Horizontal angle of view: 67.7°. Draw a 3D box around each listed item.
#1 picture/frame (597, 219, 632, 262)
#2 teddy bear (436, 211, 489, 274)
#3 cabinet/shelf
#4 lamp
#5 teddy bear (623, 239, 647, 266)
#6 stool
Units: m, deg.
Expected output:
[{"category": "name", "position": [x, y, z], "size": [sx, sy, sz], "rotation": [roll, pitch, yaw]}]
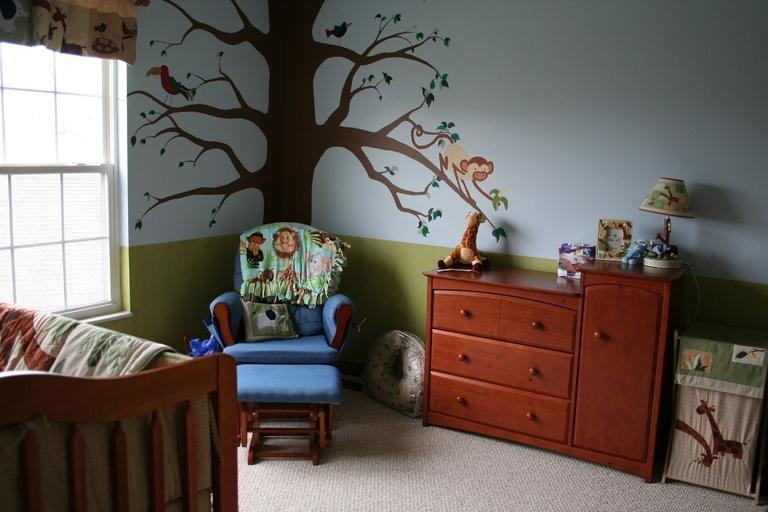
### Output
[{"category": "picture/frame", "position": [1.629, -0.109, 4.037], "size": [0.254, 0.349, 0.047], "rotation": [6, 7, 18]}, {"category": "teddy bear", "position": [0.641, -0.139, 4.368], "size": [0.331, 0.481, 0.387], "rotation": [9, 9, 26]}, {"category": "cabinet/shelf", "position": [1.226, 0.802, 3.885], "size": [1.302, 1.113, 0.519], "rotation": [3, 5, 25]}, {"category": "lamp", "position": [1.917, -0.227, 3.882], "size": [0.298, 0.605, 0.330], "rotation": [6, 8, 39]}, {"category": "teddy bear", "position": [1.733, -0.028, 3.960], "size": [0.121, 0.081, 0.215], "rotation": [24, 59, 27]}, {"category": "stool", "position": [-0.659, 1.054, 3.960], "size": [0.702, 0.544, 0.426], "rotation": [1, 6, -11]}]
